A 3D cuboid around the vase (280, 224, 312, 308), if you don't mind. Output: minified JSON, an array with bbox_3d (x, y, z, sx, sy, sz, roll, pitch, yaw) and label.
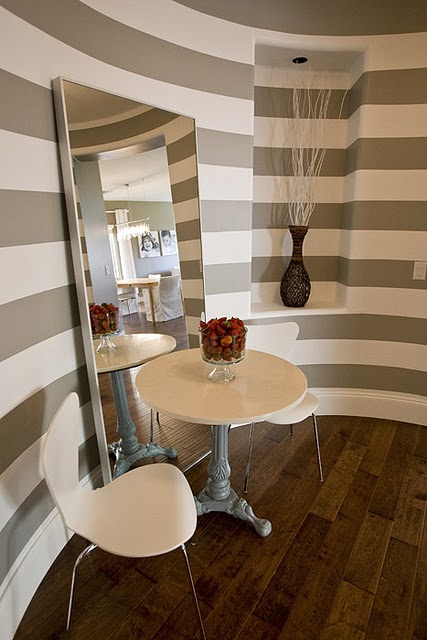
[{"bbox_3d":[0.525,-0.344,2.513,0.189,0.527,0.134,3,12,22],"label":"vase"}]
